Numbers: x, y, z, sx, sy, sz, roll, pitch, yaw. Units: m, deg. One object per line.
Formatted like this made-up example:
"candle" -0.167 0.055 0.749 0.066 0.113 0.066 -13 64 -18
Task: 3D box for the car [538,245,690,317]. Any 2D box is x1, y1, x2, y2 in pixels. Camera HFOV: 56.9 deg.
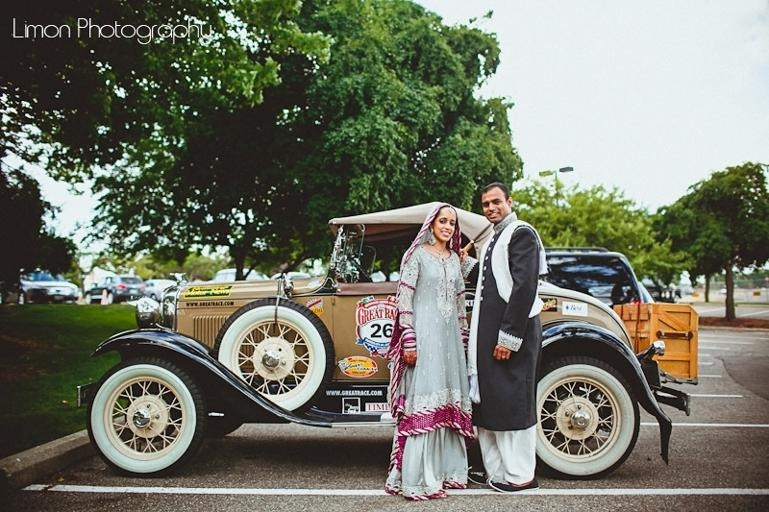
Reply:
"car" 4.298 0.489 14.333 1.787 1.148 1.206 -1 0 5

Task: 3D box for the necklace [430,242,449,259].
"necklace" 0.831 -0.078 10.750 0.188 0.087 0.248 47 18 30

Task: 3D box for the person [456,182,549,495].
"person" 1.815 1.223 10.610 1.079 4.422 0.966 3 10 16
